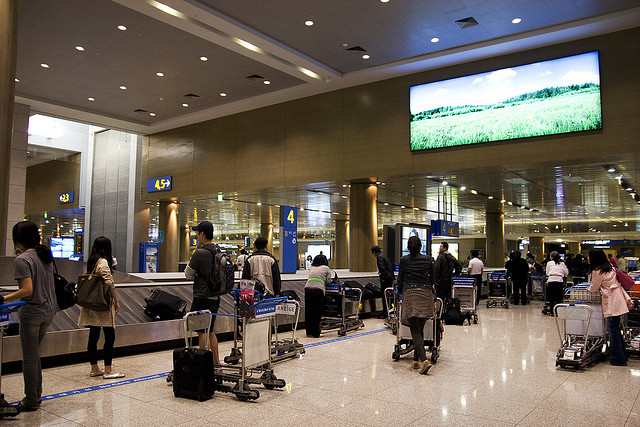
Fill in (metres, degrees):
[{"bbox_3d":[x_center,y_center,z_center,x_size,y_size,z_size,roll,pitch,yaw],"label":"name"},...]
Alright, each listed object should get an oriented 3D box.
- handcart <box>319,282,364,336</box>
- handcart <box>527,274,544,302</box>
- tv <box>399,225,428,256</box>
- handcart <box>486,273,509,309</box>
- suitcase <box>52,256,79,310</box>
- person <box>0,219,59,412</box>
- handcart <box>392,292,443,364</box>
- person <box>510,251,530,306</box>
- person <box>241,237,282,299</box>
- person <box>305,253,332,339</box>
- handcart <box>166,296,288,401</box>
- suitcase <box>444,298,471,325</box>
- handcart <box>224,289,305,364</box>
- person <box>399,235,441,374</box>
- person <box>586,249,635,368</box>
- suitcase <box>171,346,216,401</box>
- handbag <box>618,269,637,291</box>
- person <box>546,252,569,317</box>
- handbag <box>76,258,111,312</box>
[{"bbox_3d":[0.506,2.331,11.916,0.972,1.029,1.307,0,-1,26],"label":"handcart"},{"bbox_3d":[8.894,3.074,19.860,0.915,0.872,0.747,-2,-10,23],"label":"handcart"},{"bbox_3d":[2.802,0.894,14.045,0.146,1.174,1.442,6,-3,-23],"label":"tv"},{"bbox_3d":[6.316,2.683,17.141,0.687,1.197,1.083,-1,-2,18],"label":"handcart"},{"bbox_3d":[-3.919,1.005,7.184,0.375,0.716,0.561,-8,12,-40],"label":"suitcase"},{"bbox_3d":[-4.053,1.445,6.773,0.633,2.643,0.319,1,-3,-26],"label":"person"},{"bbox_3d":[1.883,2.124,9.286,0.919,1.294,1.023,-1,-2,14],"label":"handcart"},{"bbox_3d":[7.170,2.347,17.258,0.612,2.012,1.568,-2,-3,21],"label":"person"},{"bbox_3d":[-1.117,1.006,9.117,0.702,1.104,0.841,0,-2,-9],"label":"person"},{"bbox_3d":[-0.097,1.911,11.243,0.522,1.906,0.644,-2,-3,23],"label":"person"},{"bbox_3d":[-1.552,1.990,7.908,1.877,1.471,1.791,1,1,-13],"label":"handcart"},{"bbox_3d":[3.572,2.649,13.040,0.661,0.739,0.842,3,8,3],"label":"suitcase"},{"bbox_3d":[-0.945,2.208,9.286,0.876,1.124,1.365,1,-3,29],"label":"handcart"},{"bbox_3d":[1.791,1.606,8.828,0.623,2.351,1.103,-1,-3,15],"label":"person"},{"bbox_3d":[5.509,1.724,9.065,0.662,2.120,1.085,-2,-3,37],"label":"person"},{"bbox_3d":[-1.904,2.434,7.223,0.793,0.817,0.376,-3,-7,19],"label":"suitcase"},{"bbox_3d":[5.611,1.218,8.798,0.228,0.345,0.228,-2,-3,32],"label":"handbag"},{"bbox_3d":[7.130,2.124,14.399,0.590,1.913,1.302,-2,-3,25],"label":"person"},{"bbox_3d":[-3.634,1.216,7.706,0.537,0.662,0.134,-1,-3,2],"label":"handbag"}]
